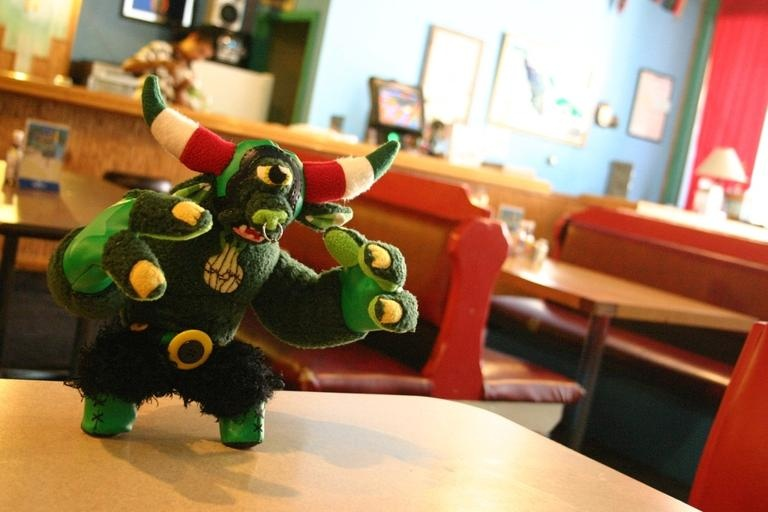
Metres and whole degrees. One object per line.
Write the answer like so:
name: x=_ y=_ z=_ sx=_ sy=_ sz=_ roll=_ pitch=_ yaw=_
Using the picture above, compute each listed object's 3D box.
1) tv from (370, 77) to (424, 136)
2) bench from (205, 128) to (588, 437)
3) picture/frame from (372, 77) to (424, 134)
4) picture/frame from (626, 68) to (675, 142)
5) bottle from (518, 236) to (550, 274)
tv: x=0.107 y=-1.058 z=4.374 sx=0.051 sy=0.339 sz=0.525 roll=3 pitch=5 yaw=44
bench: x=-0.312 y=0.054 z=2.273 sx=0.690 sy=0.756 sz=1.253 roll=-1 pitch=15 yaw=-40
picture/frame: x=0.119 y=-1.057 z=4.346 sx=0.049 sy=0.326 sz=0.498 roll=-24 pitch=33 yaw=-35
picture/frame: x=0.492 y=-0.275 z=1.150 sx=0.031 sy=0.115 sz=0.126 roll=14 pitch=28 yaw=34
bottle: x=0.648 y=-0.034 z=2.685 sx=0.166 sy=0.205 sz=0.136 roll=0 pitch=0 yaw=16
